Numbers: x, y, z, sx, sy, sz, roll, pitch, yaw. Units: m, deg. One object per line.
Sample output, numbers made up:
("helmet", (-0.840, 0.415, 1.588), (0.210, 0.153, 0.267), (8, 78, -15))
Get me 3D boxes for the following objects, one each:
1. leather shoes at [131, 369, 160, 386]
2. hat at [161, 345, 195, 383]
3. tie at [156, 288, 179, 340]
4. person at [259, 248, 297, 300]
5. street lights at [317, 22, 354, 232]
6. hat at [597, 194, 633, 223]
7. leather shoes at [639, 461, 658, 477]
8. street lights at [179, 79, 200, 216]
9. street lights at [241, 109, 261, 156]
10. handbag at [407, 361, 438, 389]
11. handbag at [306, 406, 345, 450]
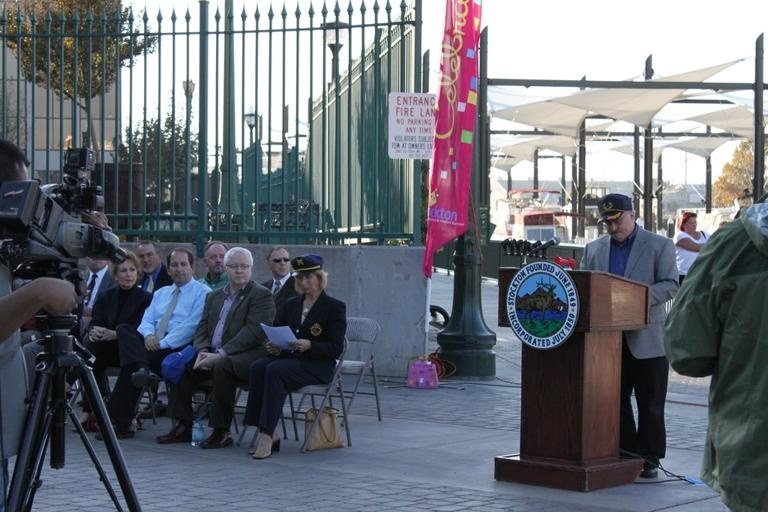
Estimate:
("leather shoes", (-2.871, 1.426, 18.233), (0.384, 0.183, 0.169), (11, -34, -8))
("hat", (-2.530, 1.252, 18.467), (0.271, 0.487, 0.198), (24, -28, 37))
("tie", (-2.771, 0.748, 19.161), (0.090, 0.846, 0.145), (33, -31, -31))
("person", (-1.422, 0.230, 20.283), (0.510, 0.989, 0.332), (-1, -20, -8))
("street lights", (-0.721, -1.882, 21.705), (0.375, 2.912, 0.277), (1, 4, 32))
("hat", (2.648, -0.552, 17.334), (0.370, 0.214, 0.252), (-6, 4, -45))
("leather shoes", (3.012, 2.358, 17.098), (0.220, 0.201, 0.102), (-2, 3, -20))
("street lights", (-2.887, -1.595, 22.201), (0.252, 1.952, 0.186), (-1, 3, 2))
("street lights", (-1.903, -1.840, 21.805), (0.283, 0.566, 0.063), (-1, 3, 8))
("handbag", (0.521, 1.624, 21.142), (0.334, 0.339, 0.361), (1, -4, -3))
("handbag", (-0.733, 2.016, 18.107), (0.481, 0.528, 0.257), (0, -2, -32))
